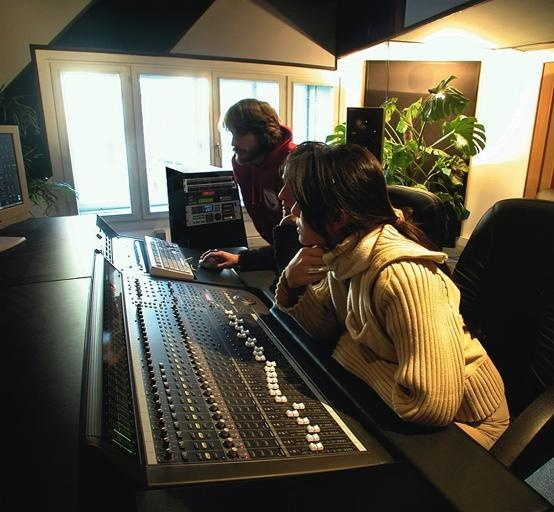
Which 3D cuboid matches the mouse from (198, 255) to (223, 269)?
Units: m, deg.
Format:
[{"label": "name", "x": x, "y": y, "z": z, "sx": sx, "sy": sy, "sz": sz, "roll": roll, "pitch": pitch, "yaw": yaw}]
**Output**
[{"label": "mouse", "x": -0.249, "y": 0.038, "z": 1.701, "sx": 0.064, "sy": 0.018, "sz": 0.066, "roll": 10, "pitch": 31, "yaw": 3}]
